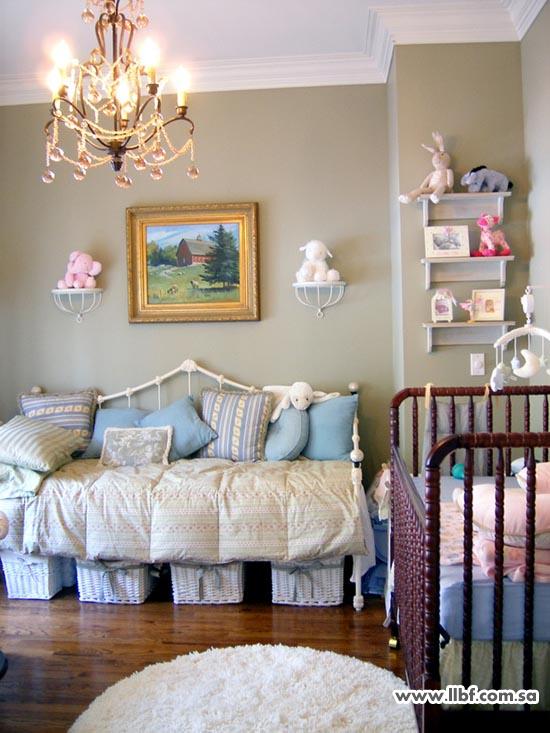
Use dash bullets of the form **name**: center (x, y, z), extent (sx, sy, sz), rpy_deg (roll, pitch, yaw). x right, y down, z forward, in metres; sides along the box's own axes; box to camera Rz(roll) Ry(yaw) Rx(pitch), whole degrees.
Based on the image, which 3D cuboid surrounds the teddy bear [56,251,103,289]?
- **teddy bear**: center (-1.076, -0.531, 3.696), extent (0.226, 0.213, 0.118), rpy_deg (-1, 3, 0)

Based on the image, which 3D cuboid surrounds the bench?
- **bench**: center (-0.360, 0.588, 3.108), extent (1.608, 0.867, 0.764), rpy_deg (-1, 3, 6)

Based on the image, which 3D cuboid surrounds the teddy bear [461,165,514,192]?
- **teddy bear**: center (0.970, -0.862, 3.079), extent (0.219, 0.111, 0.119), rpy_deg (2, 10, 9)

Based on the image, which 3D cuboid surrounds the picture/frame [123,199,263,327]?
- **picture/frame**: center (-0.420, -0.583, 3.662), extent (0.729, 0.602, 0.060), rpy_deg (-1, 4, 7)

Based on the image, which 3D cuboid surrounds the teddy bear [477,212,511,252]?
- **teddy bear**: center (1.018, -0.612, 3.123), extent (0.142, 0.201, 0.117), rpy_deg (-1, 3, 16)

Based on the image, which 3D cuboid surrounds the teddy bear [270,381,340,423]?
- **teddy bear**: center (0.093, 0.159, 3.445), extent (0.260, 0.091, 0.251), rpy_deg (-10, 12, -28)

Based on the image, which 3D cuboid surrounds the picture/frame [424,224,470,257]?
- **picture/frame**: center (0.809, -0.592, 3.152), extent (0.171, 0.124, 0.017), rpy_deg (-1, -4, 3)

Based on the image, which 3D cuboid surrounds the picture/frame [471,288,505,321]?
- **picture/frame**: center (1.006, -0.292, 3.160), extent (0.164, 0.139, 0.017), rpy_deg (0, -1, 7)

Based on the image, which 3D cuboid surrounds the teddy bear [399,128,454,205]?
- **teddy bear**: center (0.718, -0.919, 3.104), extent (0.255, 0.280, 0.225), rpy_deg (-15, 18, -10)

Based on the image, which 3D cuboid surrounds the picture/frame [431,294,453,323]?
- **picture/frame**: center (0.791, -0.278, 3.176), extent (0.104, 0.141, 0.083), rpy_deg (-1, 3, 12)
